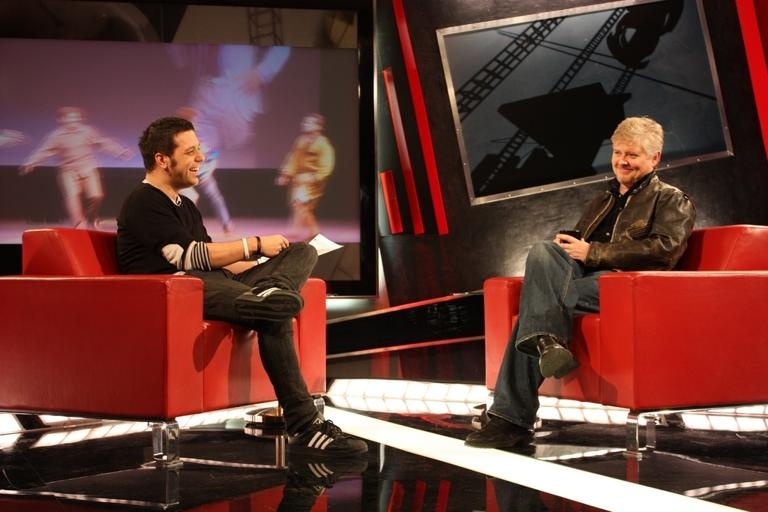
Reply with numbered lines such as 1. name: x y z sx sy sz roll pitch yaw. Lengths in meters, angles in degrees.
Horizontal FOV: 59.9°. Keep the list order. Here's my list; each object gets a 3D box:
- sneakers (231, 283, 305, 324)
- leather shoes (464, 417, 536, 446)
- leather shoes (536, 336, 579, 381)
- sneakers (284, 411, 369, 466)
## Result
1. sneakers: -0.523 0.223 3.025 0.307 0.131 0.131 3 10 -4
2. leather shoes: 0.559 0.867 3.289 0.362 0.141 0.130 2 -6 -16
3. leather shoes: 0.809 0.478 3.119 0.094 0.178 0.165 -42 25 15
4. sneakers: -0.270 0.874 3.111 0.402 0.158 0.163 0 -5 6
